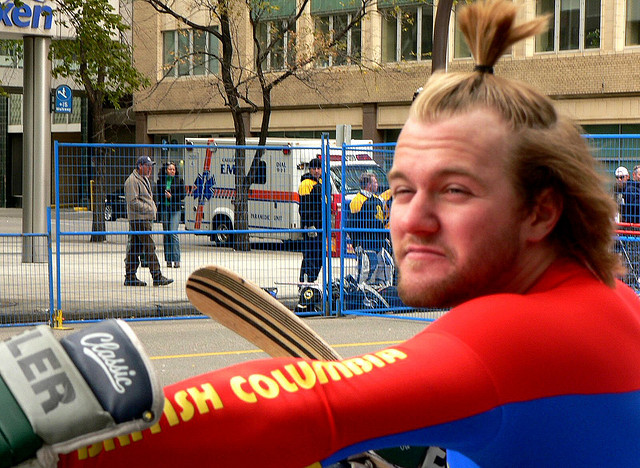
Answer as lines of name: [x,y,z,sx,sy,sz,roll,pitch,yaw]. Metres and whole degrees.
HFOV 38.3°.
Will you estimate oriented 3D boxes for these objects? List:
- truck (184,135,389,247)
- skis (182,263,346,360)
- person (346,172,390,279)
truck: [-0.339,-0.554,11.135,2.138,1.309,1.664,2,4,22]
skis: [-0.312,0.498,5.855,1.233,0.302,0.249,40,-2,-7]
person: [0.672,-0.100,10.528,0.385,1.359,0.408,-6,37,5]
